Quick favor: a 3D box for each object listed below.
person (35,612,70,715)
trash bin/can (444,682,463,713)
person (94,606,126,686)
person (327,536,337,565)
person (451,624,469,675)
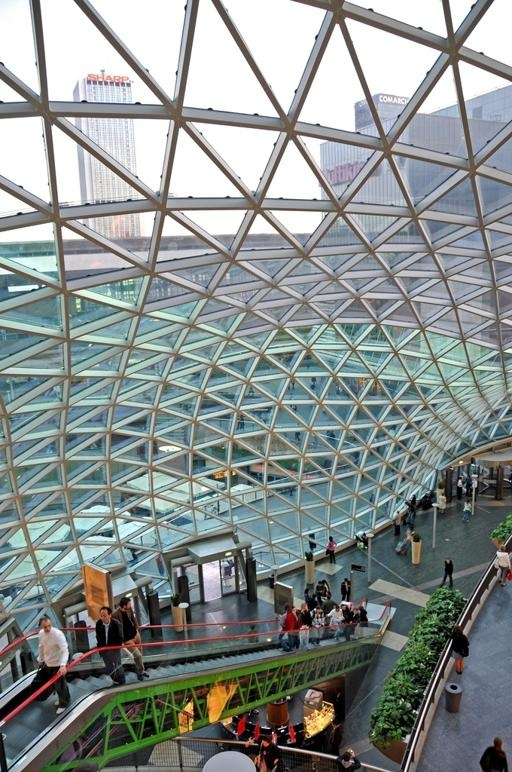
[{"bbox_3d":[-3.754,5.097,10.601,0.541,1.341,1.376,-7,-3,-23],"label":"person"},{"bbox_3d":[5.265,8.336,15.171,0.454,0.772,0.363,-9,-3,13],"label":"trash bin/can"},{"bbox_3d":[-3.055,5.507,12.015,0.548,1.341,1.168,-8,-3,-16],"label":"person"},{"bbox_3d":[4.460,9.723,34.088,0.519,1.426,1.655,-9,-3,4],"label":"person"},{"bbox_3d":[6.223,7.936,17.409,0.471,1.454,0.697,-9,-3,15],"label":"person"}]
